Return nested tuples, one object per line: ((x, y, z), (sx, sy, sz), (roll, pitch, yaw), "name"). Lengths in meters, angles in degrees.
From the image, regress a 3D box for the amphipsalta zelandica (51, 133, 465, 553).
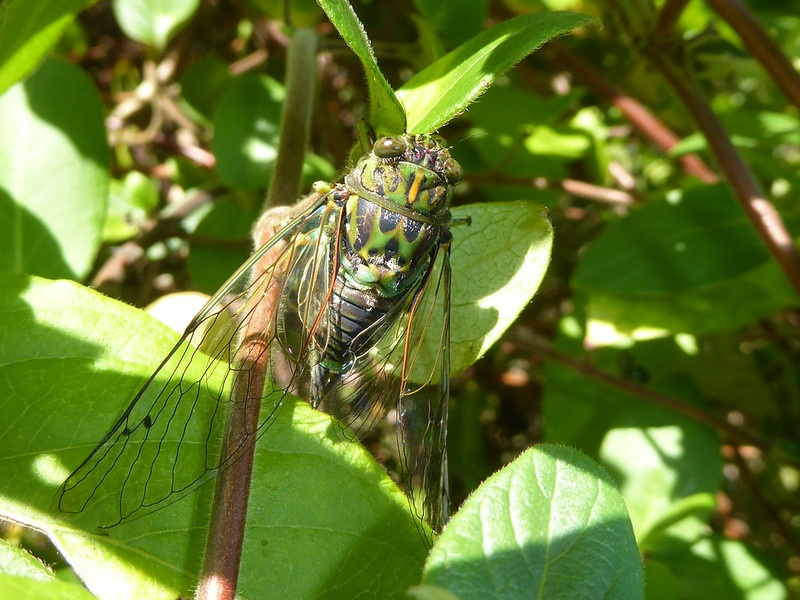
((-0.112, 0.036, 1.373), (0.675, 0.765, 0.223), (19, 22, -30), "amphipsalta zelandica")
